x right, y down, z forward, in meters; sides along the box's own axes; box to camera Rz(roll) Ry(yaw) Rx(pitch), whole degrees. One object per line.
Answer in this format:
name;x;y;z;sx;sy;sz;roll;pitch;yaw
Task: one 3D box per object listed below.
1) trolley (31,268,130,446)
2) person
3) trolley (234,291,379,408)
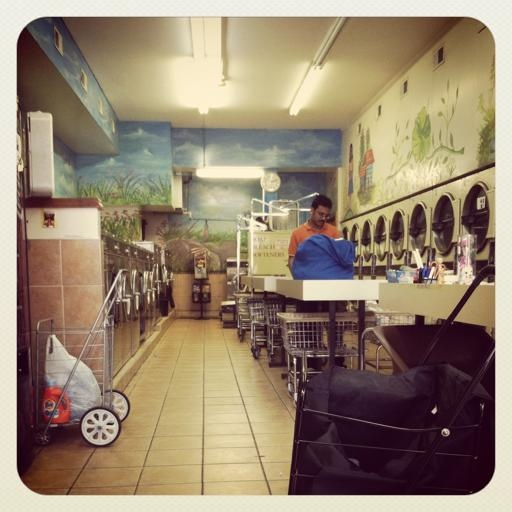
trolley;-1.115;0.622;2.941;0.580;1.056;0.667;0;-1;-19
person;0.571;0.326;4.334;0.500;1.903;0.540;-3;-13;12
trolley;0.424;0.698;3.947;0.675;0.697;1.178;0;-1;0
